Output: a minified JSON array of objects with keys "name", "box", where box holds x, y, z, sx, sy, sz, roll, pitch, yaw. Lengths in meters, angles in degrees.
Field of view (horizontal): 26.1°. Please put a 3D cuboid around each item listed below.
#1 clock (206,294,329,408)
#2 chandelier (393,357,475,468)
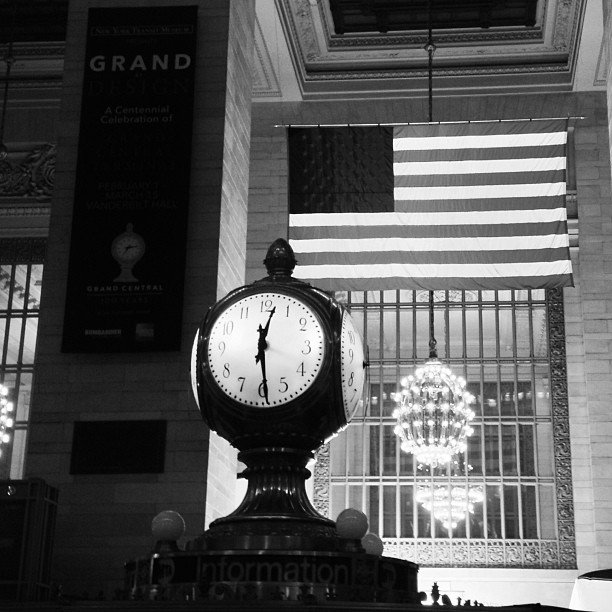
[{"name":"clock","box":[-0.156,0.174,5.348,0.616,0.561,0.059,0,-7,27]},{"name":"chandelier","box":[1.491,1.282,15.705,1.360,1.643,1.317,-1,-19,5]}]
